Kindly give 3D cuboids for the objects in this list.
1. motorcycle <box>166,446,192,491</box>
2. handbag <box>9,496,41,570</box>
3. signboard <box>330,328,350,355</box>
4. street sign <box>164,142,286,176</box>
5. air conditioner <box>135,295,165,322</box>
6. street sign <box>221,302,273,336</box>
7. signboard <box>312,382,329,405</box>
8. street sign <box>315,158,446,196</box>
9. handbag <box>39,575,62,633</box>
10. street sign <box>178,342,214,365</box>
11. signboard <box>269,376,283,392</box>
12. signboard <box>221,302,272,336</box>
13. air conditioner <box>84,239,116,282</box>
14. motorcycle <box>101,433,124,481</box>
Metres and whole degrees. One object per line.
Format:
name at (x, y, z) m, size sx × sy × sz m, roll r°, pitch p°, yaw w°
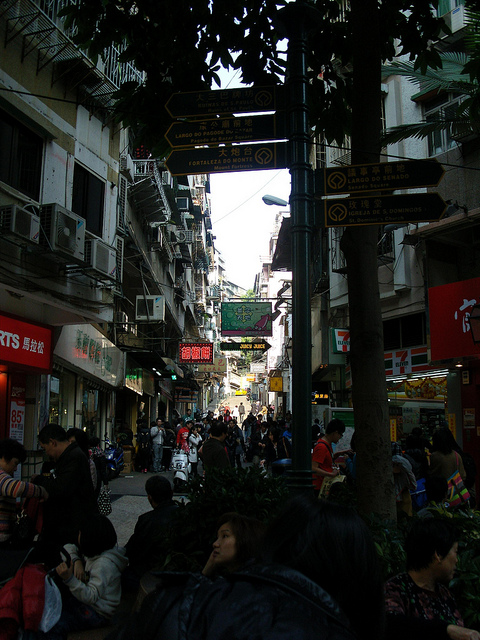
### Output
motorcycle at (-1.574, 3.925, 15.024) m, size 0.628 × 1.169 × 1.732 m, roll 3°, pitch -13°, yaw -3°
handbag at (-1.697, 1.584, 4.323) m, size 0.246 × 0.390 × 0.412 m, roll 6°, pitch -38°, yaw -34°
signboard at (3.688, 0.709, 21.007) m, size 0.756 × 1.039 × 1.014 m, roll 10°, pitch -7°, yaw 10°
street sign at (-0.105, -1.275, 4.491) m, size 1.269 × 0.365 × 0.013 m, roll -1°, pitch -16°, yaw 10°
air conditioner at (-3.560, -0.429, 22.436) m, size 0.759 × 0.805 × 0.398 m, roll -3°, pitch -15°, yaw 10°
street sign at (0.259, -0.015, 23.574) m, size 2.164 × 1.735 × 0.686 m, roll 12°, pitch -6°, yaw 5°
signboard at (3.748, 3.365, 26.391) m, size 0.755 × 1.203 × 3.755 m, roll 10°, pitch -7°, yaw 8°
street sign at (1.085, -1.045, 4.463) m, size 0.764 × 0.343 × 0.548 m, roll -2°, pitch 3°, yaw -26°
handbag at (-1.082, 1.629, 3.249) m, size 0.091 × 0.252 × 0.168 m, roll -12°, pitch -11°, yaw 33°
street sign at (-2.509, 1.920, 32.403) m, size 1.385 × 1.114 × 0.212 m, roll 0°, pitch -26°, yaw 2°
signboard at (2.301, 4.102, 36.157) m, size 0.141 × 1.199 × 1.066 m, roll -19°, pitch -19°, yaw 35°
signboard at (0.254, -0.028, 23.601) m, size 1.591 × 1.564 × 1.598 m, roll -2°, pitch -4°, yaw -3°
air conditioner at (-3.047, -1.264, 12.397) m, size 0.314 × 0.672 × 1.076 m, roll -1°, pitch -8°, yaw 14°
motorcycle at (-3.777, 4.071, 16.949) m, size 0.601 × 1.246 × 1.737 m, roll 1°, pitch -8°, yaw -1°
